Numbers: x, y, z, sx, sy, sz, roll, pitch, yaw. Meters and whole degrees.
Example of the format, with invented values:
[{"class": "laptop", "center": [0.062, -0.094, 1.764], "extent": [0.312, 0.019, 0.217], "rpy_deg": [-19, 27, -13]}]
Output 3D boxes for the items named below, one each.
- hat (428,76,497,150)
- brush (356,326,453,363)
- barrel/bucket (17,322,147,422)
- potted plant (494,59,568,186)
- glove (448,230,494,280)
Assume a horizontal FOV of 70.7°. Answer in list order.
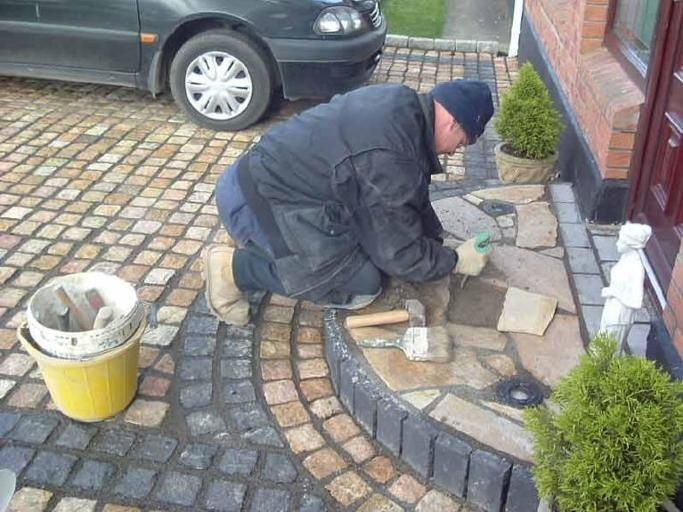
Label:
[{"class": "hat", "center": [0.826, -0.945, 3.042], "extent": [0.371, 0.458, 0.318], "rpy_deg": [-48, 13, -1]}, {"class": "brush", "center": [0.398, 0.505, 2.967], "extent": [0.566, 0.152, 0.234], "rpy_deg": [1, 33, 2]}, {"class": "barrel/bucket", "center": [-1.424, 0.669, 2.749], "extent": [0.643, 0.564, 0.245], "rpy_deg": [-8, 32, -11]}, {"class": "potted plant", "center": [1.775, -1.231, 4.627], "extent": [0.661, 0.987, 0.595], "rpy_deg": [19, 37, 29]}, {"class": "glove", "center": [0.903, 0.002, 3.336], "extent": [0.200, 0.332, 0.130], "rpy_deg": [40, 17, 28]}]
